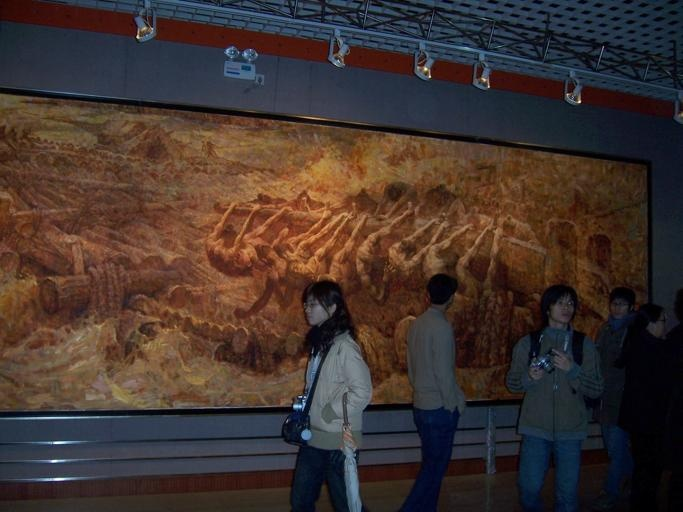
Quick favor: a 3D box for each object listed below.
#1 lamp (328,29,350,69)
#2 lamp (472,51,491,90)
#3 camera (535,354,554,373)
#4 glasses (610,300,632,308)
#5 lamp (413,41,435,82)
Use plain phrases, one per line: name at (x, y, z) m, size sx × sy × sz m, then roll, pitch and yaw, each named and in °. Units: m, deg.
lamp at (-0.034, -2.213, 5.911) m, size 0.192 × 0.366 × 0.270 m, roll 3°, pitch -5°, yaw -4°
lamp at (1.575, -2.088, 6.376) m, size 0.185 × 0.493 × 0.631 m, roll 2°, pitch -5°, yaw 13°
camera at (1.720, 0.911, 4.763) m, size 0.142 × 0.123 × 0.107 m, roll 6°, pitch -4°, yaw -9°
glasses at (2.944, 0.505, 5.902) m, size 0.107 × 0.032 × 0.106 m, roll 21°, pitch -15°, yaw -33°
lamp at (0.885, -2.099, 6.042) m, size 0.264 × 0.399 × 0.112 m, roll 7°, pitch 22°, yaw 34°
